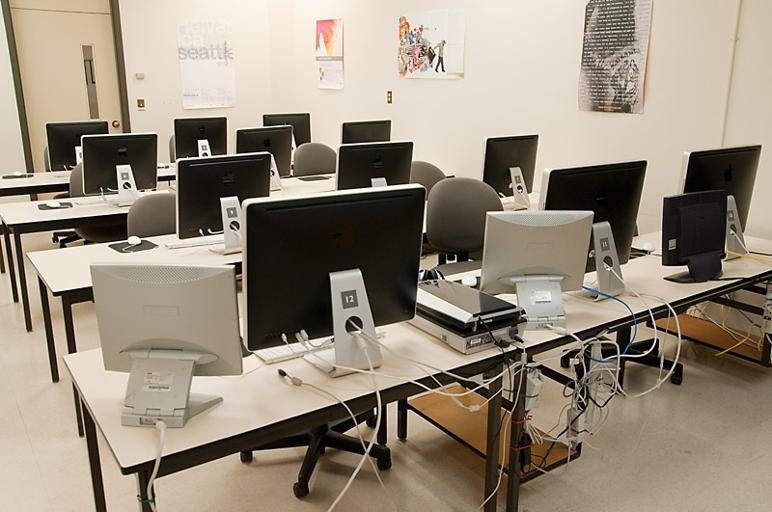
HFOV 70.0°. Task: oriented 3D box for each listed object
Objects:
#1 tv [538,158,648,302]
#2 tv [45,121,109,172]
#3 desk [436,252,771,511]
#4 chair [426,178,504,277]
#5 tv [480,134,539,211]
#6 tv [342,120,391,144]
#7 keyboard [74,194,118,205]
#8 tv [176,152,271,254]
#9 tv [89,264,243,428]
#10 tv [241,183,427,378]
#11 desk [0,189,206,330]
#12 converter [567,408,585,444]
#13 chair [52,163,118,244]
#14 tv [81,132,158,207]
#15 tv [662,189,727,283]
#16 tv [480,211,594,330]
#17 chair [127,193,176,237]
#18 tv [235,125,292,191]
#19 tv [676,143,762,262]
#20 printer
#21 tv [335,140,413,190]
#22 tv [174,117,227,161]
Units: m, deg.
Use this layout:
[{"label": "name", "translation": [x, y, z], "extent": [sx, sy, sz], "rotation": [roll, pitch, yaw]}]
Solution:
[{"label": "tv", "translation": [1.161, -0.122, 3.097], "extent": [0.819, 0.812, 0.268], "rotation": [-6, 14, -27]}, {"label": "tv", "translation": [-2.903, -1.025, 5.261], "extent": [0.524, 0.465, 0.175], "rotation": [-6, -2, -14]}, {"label": "desk", "translation": [1.253, 0.214, 3.501], "extent": [2.263, 1.149, 1.204], "rotation": [-17, 28, -31]}, {"label": "chair", "translation": [0.521, -0.230, 4.276], "extent": [0.683, 0.823, 0.662], "rotation": [0, 4, -2]}, {"label": "tv", "translation": [1.031, -0.703, 4.437], "extent": [0.539, 0.526, 0.191], "rotation": [-10, 19, -25]}, {"label": "tv", "translation": [-0.192, -1.190, 5.299], "extent": [0.454, 0.313, 0.117], "rotation": [-12, 26, -29]}, {"label": "keyboard", "translation": [-2.509, -0.483, 4.727], "extent": [0.252, 0.060, 0.159], "rotation": [-9, 27, -40]}, {"label": "tv", "translation": [-1.011, -0.328, 3.384], "extent": [0.599, 0.531, 0.195], "rotation": [-12, 33, -30]}, {"label": "tv", "translation": [-0.930, 0.346, 2.290], "extent": [0.611, 0.620, 0.339], "rotation": [0, 10, -2]}, {"label": "tv", "translation": [-0.241, 0.129, 2.485], "extent": [0.827, 0.655, 0.087], "rotation": [-8, 20, -22]}, {"label": "desk", "translation": [-2.668, -0.328, 4.634], "extent": [1.598, 1.123, 0.977], "rotation": [11, 15, 32]}, {"label": "converter", "translation": [1.032, 0.906, 2.953], "extent": [0.095, 0.167, 0.102], "rotation": [-6, 8, -30]}, {"label": "chair", "translation": [-2.545, -0.463, 4.682], "extent": [0.589, 0.683, 0.541], "rotation": [-14, 23, -43]}, {"label": "tv", "translation": [-2.176, -0.707, 4.488], "extent": [0.597, 0.509, 0.201], "rotation": [-10, 33, -33]}, {"label": "tv", "translation": [1.876, -0.119, 3.347], "extent": [0.447, 0.538, 0.189], "rotation": [-11, 22, -18]}, {"label": "tv", "translation": [0.806, 0.049, 2.851], "extent": [0.558, 0.574, 0.277], "rotation": [-2, 22, -3]}, {"label": "chair", "translation": [-1.708, -0.348, 4.142], "extent": [0.361, 0.442, 0.359], "rotation": [-6, 15, -35]}, {"label": "tv", "translation": [-1.111, -0.965, 5.080], "extent": [0.543, 0.484, 0.054], "rotation": [-15, 31, -33]}, {"label": "tv", "translation": [2.228, -0.424, 3.757], "extent": [0.612, 0.618, 0.230], "rotation": [-9, 16, -24]}, {"label": "printer", "translation": [0.394, 0.297, 2.889], "extent": [0.440, 0.177, 0.595], "rotation": [-11, 19, -33]}, {"label": "tv", "translation": [-0.071, -0.705, 4.368], "extent": [0.569, 0.425, 0.280], "rotation": [-6, 28, -10]}, {"label": "tv", "translation": [-1.823, -1.142, 5.490], "extent": [0.506, 0.455, 0.186], "rotation": [-9, 29, -27]}]
